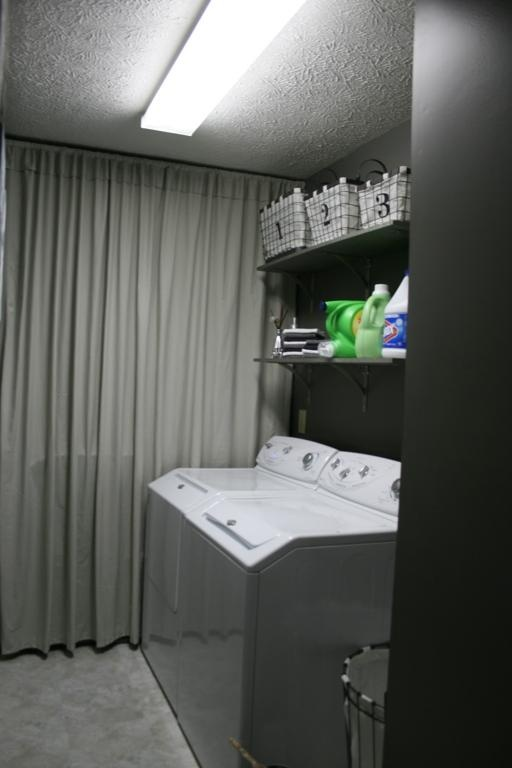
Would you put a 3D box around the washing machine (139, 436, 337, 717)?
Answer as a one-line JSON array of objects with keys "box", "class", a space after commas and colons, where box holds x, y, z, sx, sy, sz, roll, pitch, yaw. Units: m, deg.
[{"box": [-0.066, 0.686, 1.982, 0.453, 0.975, 0.869, 4, 0, -13], "class": "washing machine"}]

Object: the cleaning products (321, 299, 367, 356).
[{"box": [0.336, -0.217, 2.183, 0.208, 0.254, 0.133, 2, -5, -12], "class": "cleaning products"}]

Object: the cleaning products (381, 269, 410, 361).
[{"box": [0.436, -0.222, 1.813, 0.073, 0.218, 0.277, 2, 1, 12], "class": "cleaning products"}]

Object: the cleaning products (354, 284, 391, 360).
[{"box": [0.415, -0.224, 2.046, 0.124, 0.250, 0.162, 20, 33, 37], "class": "cleaning products"}]
